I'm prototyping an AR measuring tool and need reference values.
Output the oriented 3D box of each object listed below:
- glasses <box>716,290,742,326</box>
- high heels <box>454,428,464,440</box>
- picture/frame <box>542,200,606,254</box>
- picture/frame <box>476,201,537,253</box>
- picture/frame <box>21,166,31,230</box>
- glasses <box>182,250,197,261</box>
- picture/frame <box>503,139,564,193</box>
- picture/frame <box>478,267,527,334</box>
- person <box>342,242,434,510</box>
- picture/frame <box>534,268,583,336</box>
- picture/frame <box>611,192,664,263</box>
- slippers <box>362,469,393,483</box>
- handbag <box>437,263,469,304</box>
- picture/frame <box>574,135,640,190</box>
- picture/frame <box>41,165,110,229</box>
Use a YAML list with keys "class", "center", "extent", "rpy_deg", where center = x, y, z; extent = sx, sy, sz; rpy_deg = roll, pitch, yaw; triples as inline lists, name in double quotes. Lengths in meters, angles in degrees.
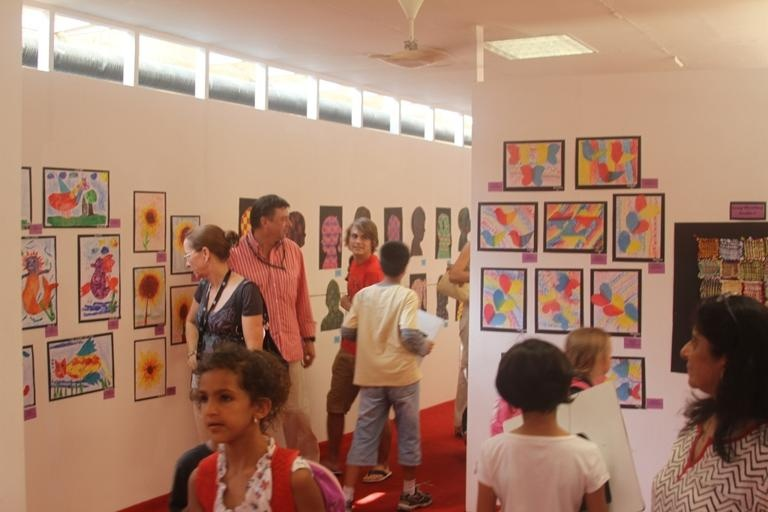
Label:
- class: "glasses"
  center: [1.592, 0.238, 2.803]
  extent: [0.036, 0.112, 0.084]
  rpy_deg: [-23, -4, 5]
- class: "high heels"
  center: [0.815, 1.981, 6.779]
  extent: [0.083, 0.144, 0.139]
  rpy_deg: [1, 2, -7]
- class: "picture/frame"
  center: [1.491, -0.230, 4.688]
  extent: [0.385, 0.345, 0.017]
  rpy_deg: [1, -1, 10]
- class: "picture/frame"
  center: [0.994, -0.238, 4.803]
  extent: [0.381, 0.340, 0.016]
  rpy_deg: [2, 4, 14]
- class: "picture/frame"
  center: [-2.672, -0.438, 4.536]
  extent: [0.029, 0.466, 0.065]
  rpy_deg: [1, 1, 18]
- class: "glasses"
  center: [-1.508, -0.007, 4.707]
  extent: [0.050, 0.077, 0.191]
  rpy_deg: [0, 1, -34]
- class: "picture/frame"
  center: [1.189, -0.715, 4.734]
  extent: [0.402, 0.357, 0.021]
  rpy_deg: [0, -2, 12]
- class: "picture/frame"
  center: [0.960, 0.354, 4.821]
  extent: [0.498, 0.701, 0.010]
  rpy_deg: [0, -3, 14]
- class: "person"
  center: [0.044, 1.022, 5.229]
  extent: [0.763, 2.288, 0.512]
  rpy_deg: [1, 1, -3]
- class: "picture/frame"
  center: [1.374, 0.346, 4.712]
  extent: [0.493, 0.712, 0.025]
  rpy_deg: [0, -3, 8]
- class: "picture/frame"
  center: [1.936, -0.234, 4.589]
  extent: [0.490, 0.718, 0.031]
  rpy_deg: [1, 3, 13]
- class: "slippers"
  center: [-0.071, 2.058, 5.733]
  extent: [0.263, 0.100, 0.097]
  rpy_deg: [6, -14, -40]
- class: "handbag"
  center: [0.743, 0.287, 6.576]
  extent: [0.415, 0.425, 0.226]
  rpy_deg: [17, -3, 14]
- class: "picture/frame"
  center: [1.719, -0.721, 4.615]
  extent: [0.391, 0.351, 0.029]
  rpy_deg: [1, 4, 17]
- class: "picture/frame"
  center: [-2.441, -0.471, 4.753]
  extent: [0.021, 0.511, 0.488]
  rpy_deg: [6, 6, 44]
